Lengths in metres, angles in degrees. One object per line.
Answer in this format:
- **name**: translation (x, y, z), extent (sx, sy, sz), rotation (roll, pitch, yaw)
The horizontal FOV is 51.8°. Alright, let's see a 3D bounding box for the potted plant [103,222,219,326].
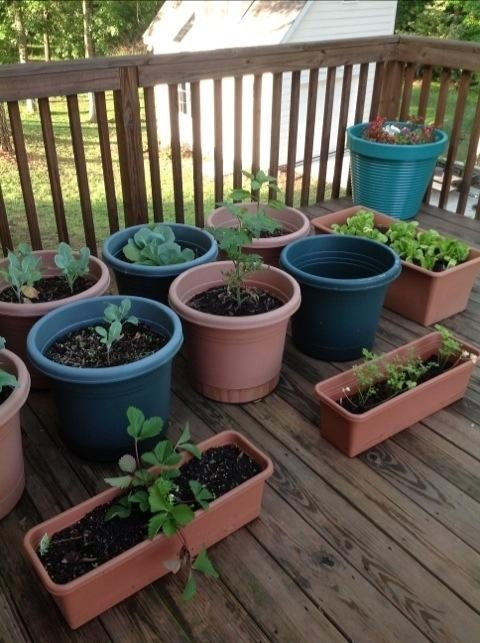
- **potted plant**: translation (-0.318, -0.226, 1.849), extent (0.363, 0.235, 0.351), rotation (4, 32, 2)
